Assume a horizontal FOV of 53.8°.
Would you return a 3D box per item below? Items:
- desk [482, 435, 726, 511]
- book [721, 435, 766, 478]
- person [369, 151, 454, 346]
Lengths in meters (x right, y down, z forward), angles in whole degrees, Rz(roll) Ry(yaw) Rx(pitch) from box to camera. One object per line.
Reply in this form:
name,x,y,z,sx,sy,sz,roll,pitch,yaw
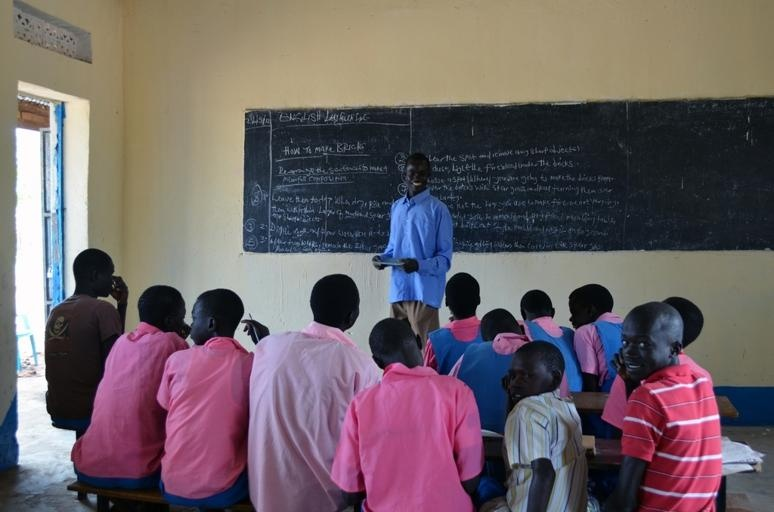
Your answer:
desk,1.100,1.115,3.889,0.787,0.479,0.417,0,-2,11
book,1.980,1.134,4.292,0.257,0.104,0.214,0,0,-27
person,0.201,-0.052,5.619,0.550,1.423,0.458,1,1,5
